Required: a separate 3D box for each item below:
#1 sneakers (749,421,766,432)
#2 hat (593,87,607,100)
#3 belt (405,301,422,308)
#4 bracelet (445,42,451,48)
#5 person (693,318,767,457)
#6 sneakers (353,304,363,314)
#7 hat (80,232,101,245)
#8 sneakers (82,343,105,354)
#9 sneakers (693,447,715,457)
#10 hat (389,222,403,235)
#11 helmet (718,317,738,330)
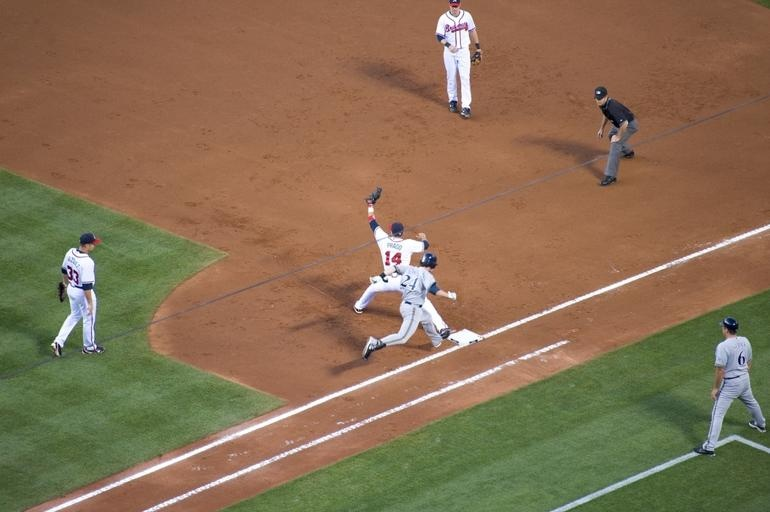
[{"bbox_3d":[7.707,3.562,25.669,0.350,0.146,0.147,31,59,31],"label":"sneakers"},{"bbox_3d":[5.386,-4.045,31.028,0.271,0.440,0.611,-1,22,6],"label":"hat"},{"bbox_3d":[0.599,1.067,26.959,0.362,0.129,0.065,0,25,5],"label":"belt"},{"bbox_3d":[1.678,-5.739,33.602,0.171,0.156,0.042,12,30,32],"label":"bracelet"},{"bbox_3d":[6.986,2.690,25.192,1.528,2.668,0.875,-18,29,-29],"label":"person"},{"bbox_3d":[-0.648,1.229,28.560,0.128,0.109,0.280,-6,26,-18],"label":"sneakers"},{"bbox_3d":[-6.535,-0.362,27.221,0.457,0.195,0.291,-7,20,-19],"label":"hat"},{"bbox_3d":[-6.517,2.082,27.686,0.547,0.209,0.183,-3,42,-5],"label":"sneakers"},{"bbox_3d":[6.492,4.002,25.300,0.423,0.168,0.156,10,43,16],"label":"sneakers"},{"bbox_3d":[0.254,-0.615,27.572,0.368,0.253,0.227,16,46,0],"label":"hat"},{"bbox_3d":[7.004,1.400,25.267,0.284,0.171,0.342,-4,26,-14],"label":"helmet"}]
